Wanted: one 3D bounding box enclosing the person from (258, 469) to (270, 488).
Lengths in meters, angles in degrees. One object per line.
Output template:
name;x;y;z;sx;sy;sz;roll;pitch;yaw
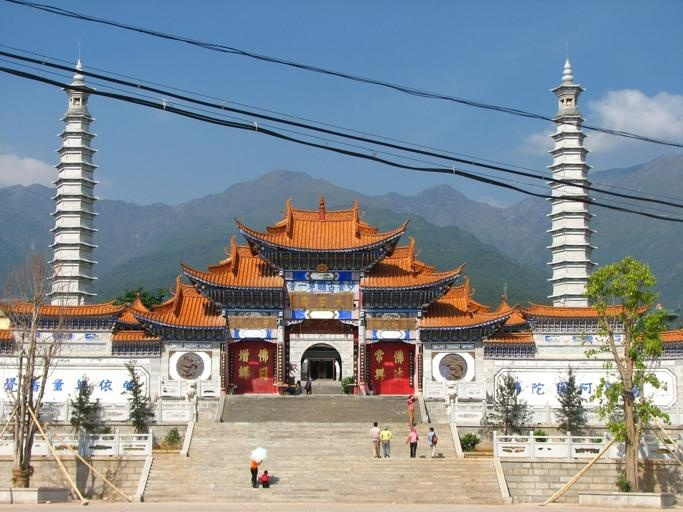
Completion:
person;-4.424;13.043;99.250;0.584;0.908;0.855;0;0;-2
